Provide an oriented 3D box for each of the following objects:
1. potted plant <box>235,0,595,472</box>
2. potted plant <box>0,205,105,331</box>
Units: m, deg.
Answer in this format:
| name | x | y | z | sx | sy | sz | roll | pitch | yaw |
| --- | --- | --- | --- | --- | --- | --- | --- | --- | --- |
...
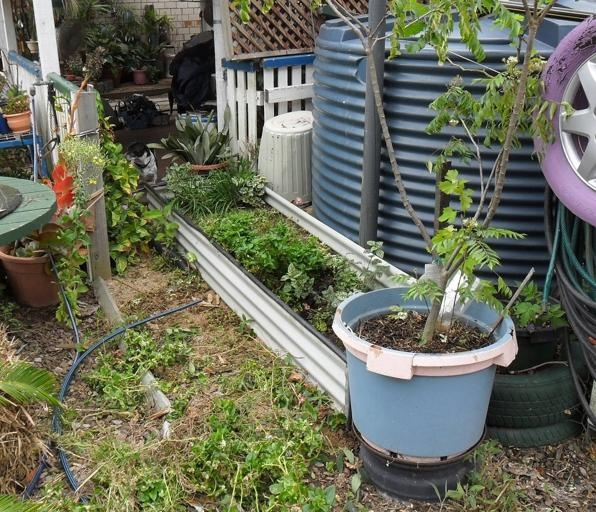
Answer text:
| name | x | y | z | sx | sy | sz | roll | pitch | yaw |
| --- | --- | --- | --- | --- | --- | --- | --- | --- | --- |
| potted plant | 0.769 | -0.047 | 2.034 | 1.216 | 1.630 | 0.685 | -17 | 30 | -32 |
| potted plant | -1.441 | -0.007 | 3.317 | 0.613 | 0.504 | 0.656 | 6 | 22 | 9 |
